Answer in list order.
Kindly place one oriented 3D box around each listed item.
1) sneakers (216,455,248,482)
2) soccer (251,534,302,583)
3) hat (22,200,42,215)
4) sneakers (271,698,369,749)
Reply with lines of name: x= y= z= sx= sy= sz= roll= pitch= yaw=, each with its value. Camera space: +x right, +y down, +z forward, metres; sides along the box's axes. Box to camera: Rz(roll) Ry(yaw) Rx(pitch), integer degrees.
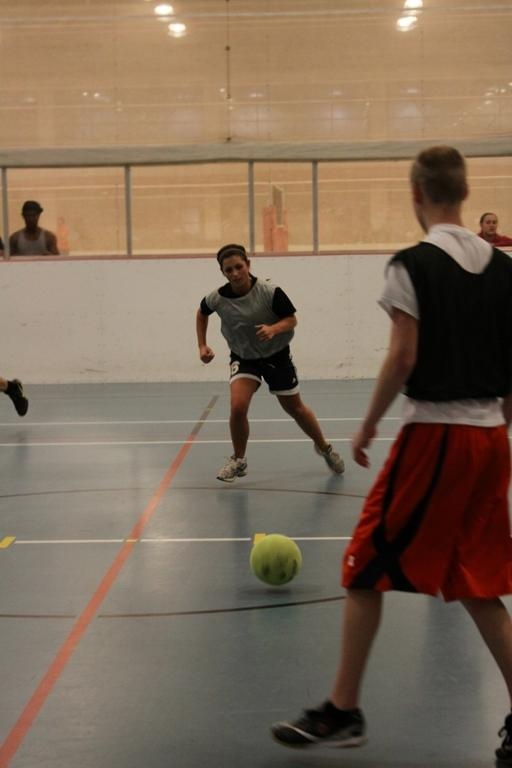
sneakers: x=-0.153 y=0.576 z=5.155 sx=0.103 sy=0.127 sz=0.287 roll=3 pitch=2 yaw=33
soccer: x=0.078 y=0.695 z=3.121 sx=0.213 sy=0.216 sz=0.198 roll=0 pitch=-2 yaw=0
hat: x=-3.471 y=-2.708 z=11.860 sx=0.347 sy=0.141 sz=0.457 roll=0 pitch=-7 yaw=-11
sneakers: x=0.169 y=0.854 z=1.942 sx=0.258 sy=0.110 sz=0.093 roll=2 pitch=-4 yaw=-4
